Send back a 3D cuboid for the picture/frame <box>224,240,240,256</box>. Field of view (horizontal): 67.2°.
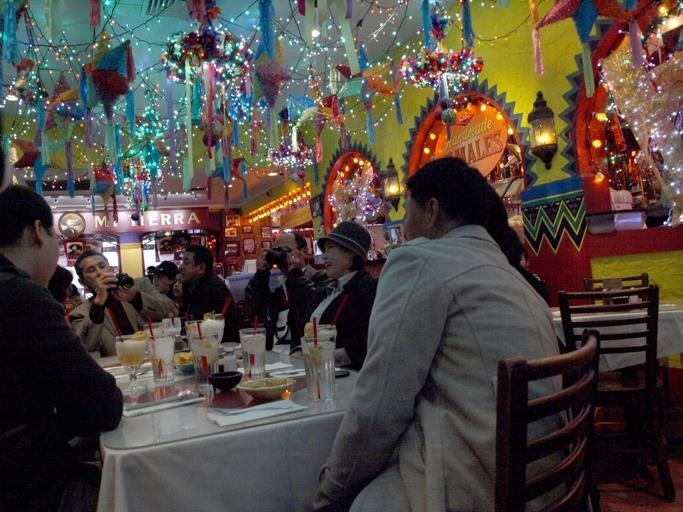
[{"bbox_3d":[-3.608,-0.248,16.894,0.472,0.522,0.055,4,-15,-12],"label":"picture/frame"}]

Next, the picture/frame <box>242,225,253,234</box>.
[{"bbox_3d":[-3.142,-0.882,17.134,0.258,0.256,0.029,0,3,4],"label":"picture/frame"}]

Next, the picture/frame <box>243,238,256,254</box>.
[{"bbox_3d":[-3.069,-0.313,17.042,0.474,0.635,0.060,1,-12,-9],"label":"picture/frame"}]

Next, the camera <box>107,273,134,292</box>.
[{"bbox_3d":[-1.370,0.164,3.259,0.106,0.078,0.110,-10,-10,33],"label":"camera"}]

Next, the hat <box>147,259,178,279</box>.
[{"bbox_3d":[-1.879,0.149,5.533,0.324,0.190,0.227,22,-11,-18],"label":"hat"}]

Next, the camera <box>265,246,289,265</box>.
[{"bbox_3d":[-0.481,-0.004,3.781,0.118,0.135,0.125,5,5,21],"label":"camera"}]

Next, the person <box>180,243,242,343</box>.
[{"bbox_3d":[-1.248,0.298,4.947,0.568,0.542,1.158,3,27,-15],"label":"person"}]
